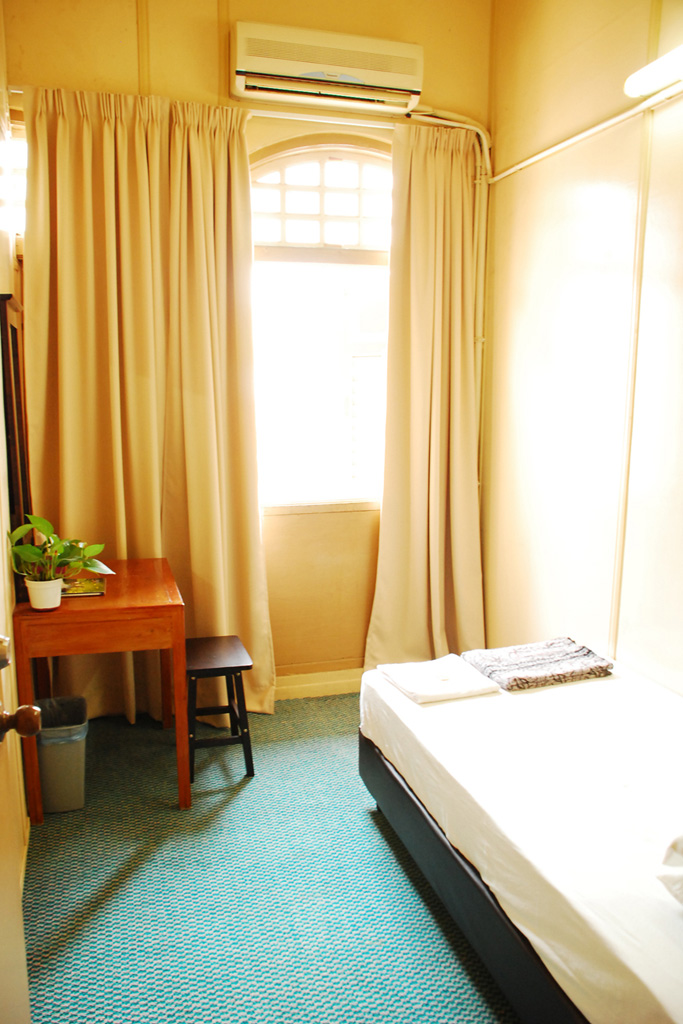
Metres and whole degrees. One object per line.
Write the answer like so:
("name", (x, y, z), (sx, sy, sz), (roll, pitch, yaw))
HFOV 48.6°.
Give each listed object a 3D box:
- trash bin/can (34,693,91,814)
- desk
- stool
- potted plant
("trash bin/can", (-0.913, 0.796, 2.518), (0.146, 0.308, 0.234), (1, 11, -19))
("desk", (-0.749, 0.363, 2.650), (0.526, 0.831, 1.153), (-2, 6, -9))
("stool", (-0.451, 0.767, 2.773), (0.233, 0.406, 0.314), (2, -18, -20))
("potted plant", (-0.887, 0.104, 2.369), (0.287, 0.236, 0.283), (7, 9, 30))
